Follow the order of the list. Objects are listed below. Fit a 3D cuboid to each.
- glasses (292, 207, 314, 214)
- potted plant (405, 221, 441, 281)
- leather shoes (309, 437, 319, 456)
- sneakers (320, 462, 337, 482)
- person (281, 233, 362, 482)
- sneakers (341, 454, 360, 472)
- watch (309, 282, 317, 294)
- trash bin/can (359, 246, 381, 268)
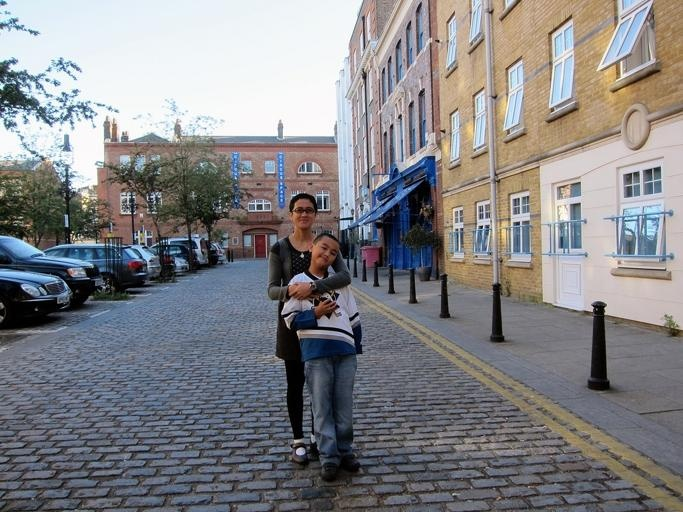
[{"bbox_3d":[-0.333,-0.388,4.730,0.202,0.053,0.136,-2,4,-4],"label":"glasses"},{"bbox_3d":[3.150,-0.231,21.127,1.263,1.962,2.297,-1,4,14],"label":"potted plant"},{"bbox_3d":[-0.242,1.683,4.820,0.062,0.063,0.165,0,-4,-9],"label":"leather shoes"},{"bbox_3d":[-0.107,1.704,4.398,0.145,0.133,0.152,-2,4,3],"label":"sneakers"},{"bbox_3d":[-0.138,1.012,4.457,0.628,1.497,0.372,-2,4,-4],"label":"person"},{"bbox_3d":[0.078,1.697,4.515,0.091,0.075,0.174,1,-6,-15],"label":"sneakers"},{"bbox_3d":[-0.217,0.256,4.341,0.057,0.083,0.081,-1,-1,-2],"label":"watch"},{"bbox_3d":[1.670,-0.062,30.417,1.118,1.439,1.718,0,1,-7],"label":"trash bin/can"}]
